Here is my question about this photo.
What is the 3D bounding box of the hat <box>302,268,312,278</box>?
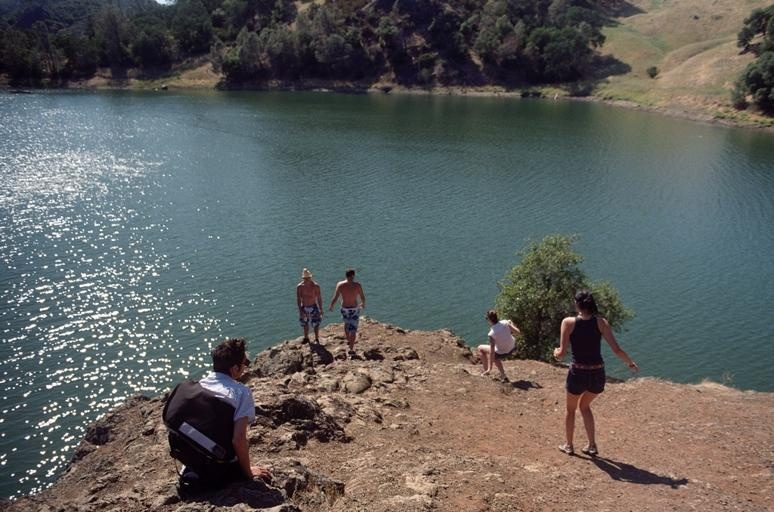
[{"bbox_3d":[-5.910,1.303,52.134,0.766,0.554,0.831,-7,2,-20],"label":"hat"}]

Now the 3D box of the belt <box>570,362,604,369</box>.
[{"bbox_3d":[12.519,6.877,43.914,1.844,0.360,0.257,2,20,7],"label":"belt"}]
